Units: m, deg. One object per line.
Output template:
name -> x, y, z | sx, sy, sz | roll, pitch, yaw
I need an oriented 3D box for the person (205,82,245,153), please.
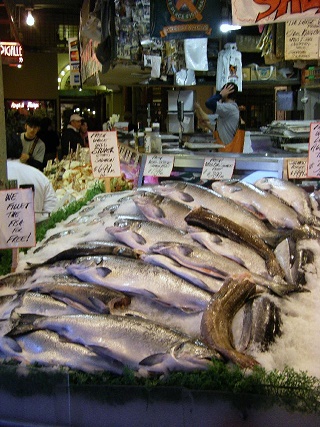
person -> 0.956, -1.426, 5.528 | 0.557, 1.027, 1.028 | 2, 12, 13

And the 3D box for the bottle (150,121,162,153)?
bottle -> -0.041, -0.864, 4.248 | 0.133, 0.464, 0.097 | 2, 52, 3

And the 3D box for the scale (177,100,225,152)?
scale -> 0.512, -1.250, 5.149 | 0.592, 0.366, 0.877 | 0, 41, -16

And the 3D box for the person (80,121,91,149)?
person -> -1.647, -1.778, 8.324 | 0.229, 0.253, 0.884 | 12, 41, -21

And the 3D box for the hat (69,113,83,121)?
hat -> -1.650, -1.871, 7.284 | 0.208, 0.142, 0.173 | -11, 0, 24
